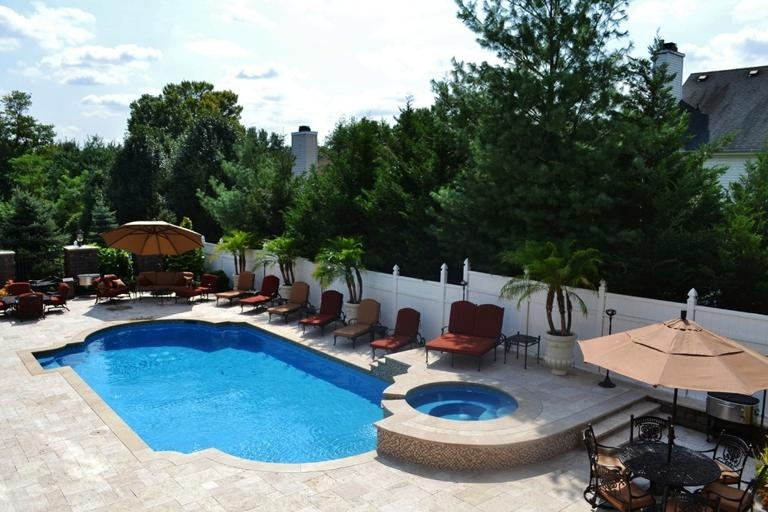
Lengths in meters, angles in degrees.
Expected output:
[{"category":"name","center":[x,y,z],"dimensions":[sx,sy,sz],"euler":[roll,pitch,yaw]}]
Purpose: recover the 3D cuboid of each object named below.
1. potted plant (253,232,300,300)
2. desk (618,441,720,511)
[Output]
[{"category":"potted plant","center":[-5.259,0.277,25.722],"dimensions":[2.617,2.731,2.606],"euler":[-3,12,9]},{"category":"desk","center":[6.025,4.351,10.790],"dimensions":[1.620,0.970,1.581],"euler":[-2,11,7]}]
